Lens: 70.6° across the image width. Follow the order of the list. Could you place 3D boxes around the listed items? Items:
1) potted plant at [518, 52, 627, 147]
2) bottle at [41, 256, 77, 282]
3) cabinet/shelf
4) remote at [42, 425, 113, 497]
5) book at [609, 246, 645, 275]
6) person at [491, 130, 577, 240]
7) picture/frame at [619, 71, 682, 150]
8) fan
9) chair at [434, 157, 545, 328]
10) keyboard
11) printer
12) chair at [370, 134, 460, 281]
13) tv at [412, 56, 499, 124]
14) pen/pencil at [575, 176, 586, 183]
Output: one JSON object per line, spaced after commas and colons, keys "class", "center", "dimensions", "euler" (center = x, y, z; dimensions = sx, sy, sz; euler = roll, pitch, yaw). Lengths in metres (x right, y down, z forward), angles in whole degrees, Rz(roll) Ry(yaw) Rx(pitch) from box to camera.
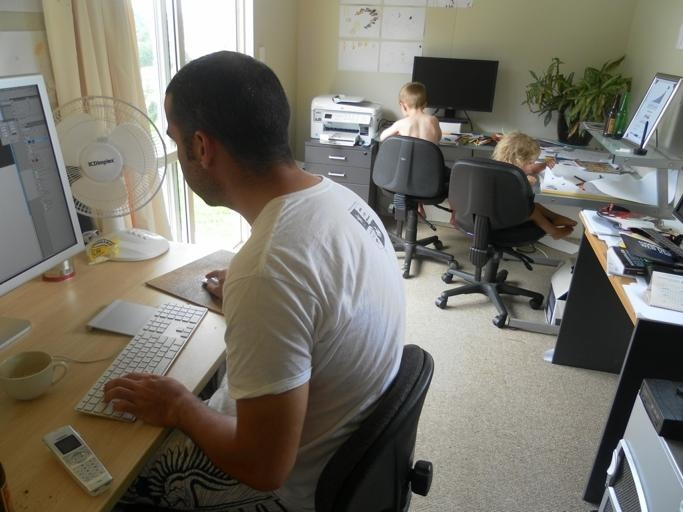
{"class": "potted plant", "center": [1.863, -1.270, 3.952], "dimensions": [0.766, 0.587, 0.646], "euler": [19, 28, 40]}
{"class": "bottle", "center": [-1.011, 0.061, 1.731], "dimensions": [0.093, 0.093, 0.097], "euler": [0, 11, -7]}
{"class": "cabinet/shelf", "center": [0.045, -0.815, 4.411], "dimensions": [0.570, 0.920, 0.571], "euler": [4, 21, 9]}
{"class": "remote", "center": [-0.627, 0.476, 1.147], "dimensions": [0.084, 0.052, 0.249], "euler": [-27, 56, -37]}
{"class": "book", "center": [1.170, 0.025, 1.989], "dimensions": [0.128, 0.045, 0.198], "euler": [11, 29, 21]}
{"class": "person", "center": [1.247, -0.575, 3.098], "dimensions": [0.609, 0.238, 0.964], "euler": [9, 43, 14]}
{"class": "picture/frame", "center": [1.745, -0.815, 2.733], "dimensions": [0.190, 0.379, 0.543], "euler": [12, 28, 23]}
{"class": "fan", "center": [-0.948, -0.302, 1.928], "dimensions": [0.438, 0.623, 0.390], "euler": [-11, 9, -27]}
{"class": "chair", "center": [0.994, -0.172, 3.195], "dimensions": [0.638, 1.055, 0.662], "euler": [-27, 35, -37]}
{"class": "keyboard", "center": [-0.561, 0.293, 1.454], "dimensions": [0.205, 0.047, 0.572], "euler": [38, 23, -16]}
{"class": "printer", "center": [0.027, -1.208, 4.283], "dimensions": [0.571, 0.380, 0.496], "euler": [10, 27, 14]}
{"class": "chair", "center": [0.594, -0.422, 3.744], "dimensions": [0.672, 1.023, 0.681], "euler": [6, 23, 10]}
{"class": "tv", "center": [0.954, -1.418, 4.163], "dimensions": [0.693, 0.523, 0.185], "euler": [8, 32, 13]}
{"class": "pen/pencil", "center": [1.500, -0.475, 3.038], "dimensions": [0.013, 0.014, 0.061], "euler": [-25, 42, -11]}
